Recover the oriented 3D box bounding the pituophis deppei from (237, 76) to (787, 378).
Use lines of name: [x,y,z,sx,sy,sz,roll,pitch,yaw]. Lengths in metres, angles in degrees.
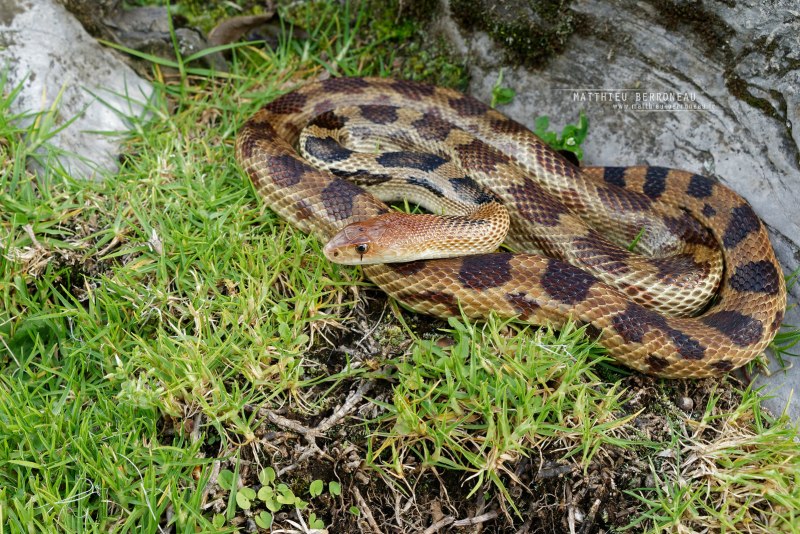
pituophis deppei: [0.968,-0.510,7.336,5.421,1.316,2.543,27,78,1]
